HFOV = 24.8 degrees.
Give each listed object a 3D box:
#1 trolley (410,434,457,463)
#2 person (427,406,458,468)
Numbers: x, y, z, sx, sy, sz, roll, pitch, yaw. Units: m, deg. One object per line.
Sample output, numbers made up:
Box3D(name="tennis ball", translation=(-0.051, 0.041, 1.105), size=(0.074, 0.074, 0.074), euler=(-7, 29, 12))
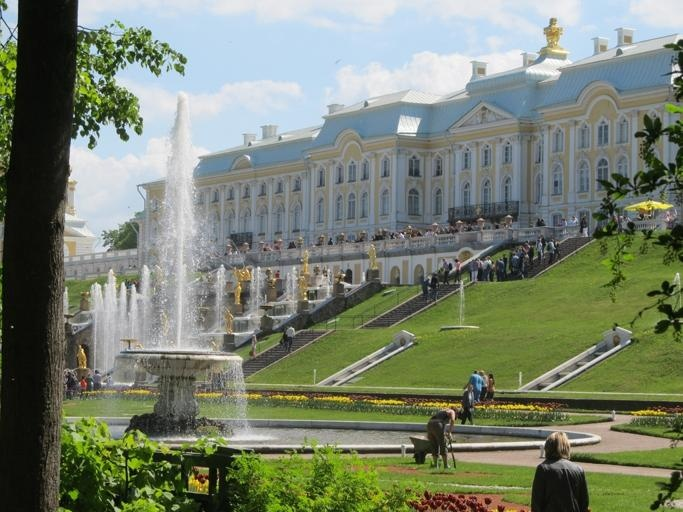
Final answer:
Box3D(name="trolley", translation=(1.519, 3.217, 26.020), size=(0.521, 0.468, 0.650), euler=(-2, -2, -5))
Box3D(name="person", translation=(1.676, 3.000, 25.693), size=(0.454, 0.951, 1.519), euler=(-1, -5, 4))
